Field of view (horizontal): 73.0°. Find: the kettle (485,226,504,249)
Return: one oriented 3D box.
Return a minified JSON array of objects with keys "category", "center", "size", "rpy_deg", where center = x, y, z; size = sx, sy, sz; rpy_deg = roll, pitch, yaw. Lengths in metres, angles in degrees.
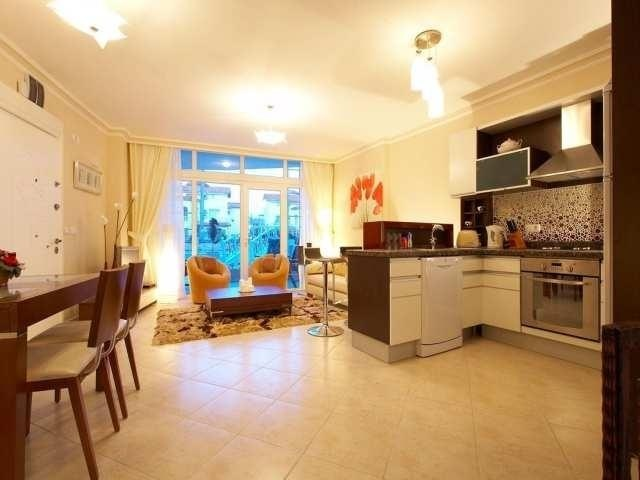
[{"category":"kettle","center":[2.122,-0.034,5.245],"size":[0.161,0.259,0.280],"rpy_deg":[1,13,6]}]

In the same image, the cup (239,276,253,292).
[{"category":"cup","center":[-1.072,0.646,6.263],"size":[0.176,0.223,0.210],"rpy_deg":[-1,-5,21]}]

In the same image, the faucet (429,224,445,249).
[{"category":"faucet","center":[1.433,-0.049,5.329],"size":[0.282,0.296,0.163],"rpy_deg":[1,-1,-33]}]

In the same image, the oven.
[{"category":"oven","center":[2.491,0.509,4.409],"size":[0.559,0.887,0.699],"rpy_deg":[-20,17,-40]}]

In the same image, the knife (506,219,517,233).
[{"category":"knife","center":[2.328,-0.164,5.252],"size":[0.038,0.146,0.146],"rpy_deg":[-4,4,44]}]

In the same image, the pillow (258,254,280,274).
[{"category":"pillow","center":[-0.909,0.428,7.679],"size":[0.265,0.375,0.321],"rpy_deg":[0,-15,0]}]

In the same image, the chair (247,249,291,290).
[{"category":"chair","center":[-0.844,0.511,7.436],"size":[0.549,0.557,0.587],"rpy_deg":[-3,-14,14]}]

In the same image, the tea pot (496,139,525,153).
[{"category":"tea pot","center":[2.226,-1.067,5.123],"size":[0.180,0.140,0.232],"rpy_deg":[-8,6,-39]}]

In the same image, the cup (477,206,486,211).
[{"category":"cup","center":[2.095,-0.393,5.637],"size":[0.061,0.051,0.064],"rpy_deg":[-2,-2,0]}]

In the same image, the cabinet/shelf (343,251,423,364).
[{"category":"cabinet/shelf","center":[0.625,0.635,4.324],"size":[0.764,1.094,0.524],"rpy_deg":[3,13,15]}]

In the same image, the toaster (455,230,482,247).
[{"category":"toaster","center":[1.874,0.020,5.455],"size":[0.224,0.212,0.226],"rpy_deg":[2,-4,-31]}]

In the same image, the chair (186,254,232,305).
[{"category":"chair","center":[-1.767,0.648,7.091],"size":[0.686,0.779,0.773],"rpy_deg":[-4,-7,33]}]

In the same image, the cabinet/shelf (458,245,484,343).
[{"category":"cabinet/shelf","center":[1.675,0.550,4.778],"size":[0.448,0.761,0.178],"rpy_deg":[-12,17,-42]}]
